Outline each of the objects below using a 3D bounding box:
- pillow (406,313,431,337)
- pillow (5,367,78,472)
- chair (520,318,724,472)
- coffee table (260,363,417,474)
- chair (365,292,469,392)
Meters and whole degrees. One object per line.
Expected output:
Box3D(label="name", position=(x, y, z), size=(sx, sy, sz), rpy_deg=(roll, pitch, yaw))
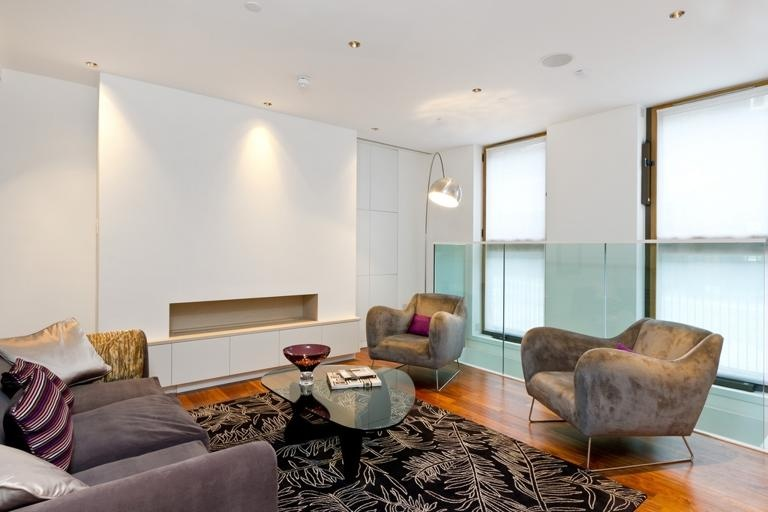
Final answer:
Box3D(label="pillow", position=(0.430, 0.839, 6.285), size=(0.271, 0.231, 0.078), rpy_deg=(7, -13, 38))
Box3D(label="pillow", position=(-2.292, 1.085, 3.390), size=(0.238, 0.317, 0.591), rpy_deg=(-9, 11, -25))
Box3D(label="chair", position=(2.085, 1.077, 4.697), size=(1.410, 1.041, 1.364), rpy_deg=(0, -2, -12))
Box3D(label="coffee table", position=(-0.227, 1.252, 4.403), size=(0.743, 0.287, 1.152), rpy_deg=(-2, 6, -39))
Box3D(label="chair", position=(0.439, 0.976, 6.291), size=(1.103, 0.966, 1.091), rpy_deg=(-1, -3, 33))
